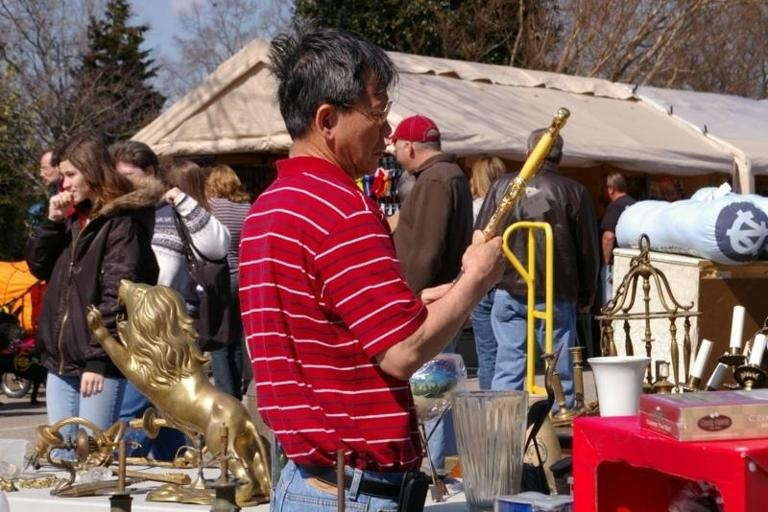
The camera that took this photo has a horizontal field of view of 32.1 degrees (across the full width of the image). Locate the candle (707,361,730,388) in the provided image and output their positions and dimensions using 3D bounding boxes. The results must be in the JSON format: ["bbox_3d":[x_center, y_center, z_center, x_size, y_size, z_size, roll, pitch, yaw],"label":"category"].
[{"bbox_3d":[2.626,0.951,10.583,0.152,0.211,0.479,-2,-5,13],"label":"candle"}]

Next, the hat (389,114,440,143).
[{"bbox_3d":[0.316,-1.226,12.975,0.394,0.204,0.277,2,7,31],"label":"hat"}]

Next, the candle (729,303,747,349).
[{"bbox_3d":[2.879,0.589,10.938,0.106,0.365,0.923,-2,-5,15],"label":"candle"}]
